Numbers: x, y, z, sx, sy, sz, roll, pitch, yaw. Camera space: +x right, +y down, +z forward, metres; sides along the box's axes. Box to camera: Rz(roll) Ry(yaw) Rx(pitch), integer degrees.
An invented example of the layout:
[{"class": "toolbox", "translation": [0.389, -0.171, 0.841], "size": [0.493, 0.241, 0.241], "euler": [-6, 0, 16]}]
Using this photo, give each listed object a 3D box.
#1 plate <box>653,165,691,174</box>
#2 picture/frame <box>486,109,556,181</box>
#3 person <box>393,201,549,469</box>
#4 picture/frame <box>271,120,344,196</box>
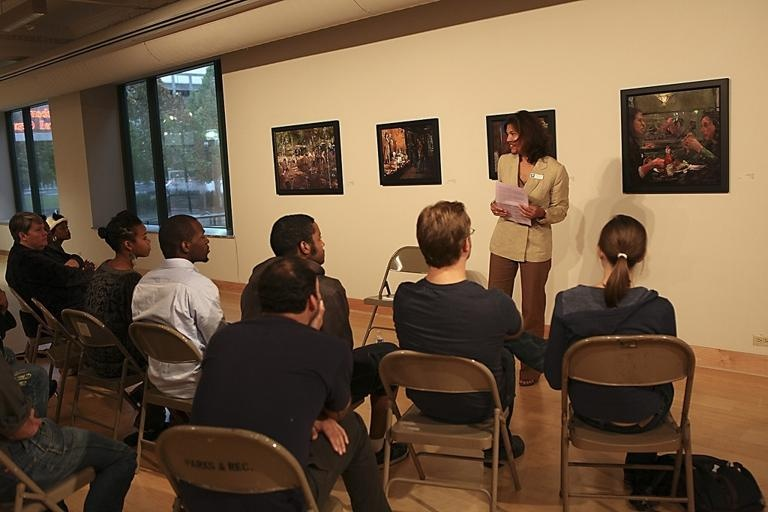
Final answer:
[{"class": "plate", "translation": [2.882, -0.863, 6.057], "size": [0.220, 0.045, 0.113], "euler": [-5, 20, 15]}, {"class": "picture/frame", "translation": [1.434, -1.150, 6.251], "size": [0.064, 0.784, 0.906], "euler": [-8, 9, -43]}, {"class": "person", "translation": [0.627, 0.649, 4.282], "size": [1.139, 2.056, 0.623], "euler": [-11, 14, -39]}, {"class": "picture/frame", "translation": [-1.039, -1.411, 8.614], "size": [1.119, 0.859, 0.049], "euler": [5, 16, 34]}]
